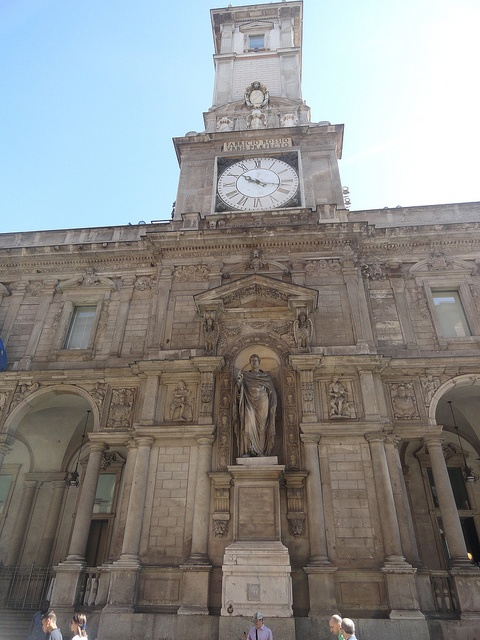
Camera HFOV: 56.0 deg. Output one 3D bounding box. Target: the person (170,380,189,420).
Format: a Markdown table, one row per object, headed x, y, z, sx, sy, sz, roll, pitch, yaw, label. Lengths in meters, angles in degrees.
| x | y | z | sx | sy | sz | roll | pitch | yaw | label |
| --- | --- | --- | --- | --- | --- | --- | --- | --- | --- |
| -1.824 | 2.455 | 13.724 | 0.602 | 1.221 | 0.205 | 4 | -38 | -4 | person |

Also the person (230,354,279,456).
| x | y | z | sx | sy | sz | roll | pitch | yaw | label |
| --- | --- | --- | --- | --- | --- | --- | --- | --- | --- |
| 0.426 | 2.660 | 12.880 | 1.217 | 2.607 | 0.673 | 2 | -37 | 0 | person |

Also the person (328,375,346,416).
| x | y | z | sx | sy | sz | roll | pitch | yaw | label |
| --- | --- | --- | --- | --- | --- | --- | --- | --- | --- |
| 2.864 | 2.230 | 13.209 | 0.572 | 1.279 | 0.170 | -5 | -38 | 9 | person |
